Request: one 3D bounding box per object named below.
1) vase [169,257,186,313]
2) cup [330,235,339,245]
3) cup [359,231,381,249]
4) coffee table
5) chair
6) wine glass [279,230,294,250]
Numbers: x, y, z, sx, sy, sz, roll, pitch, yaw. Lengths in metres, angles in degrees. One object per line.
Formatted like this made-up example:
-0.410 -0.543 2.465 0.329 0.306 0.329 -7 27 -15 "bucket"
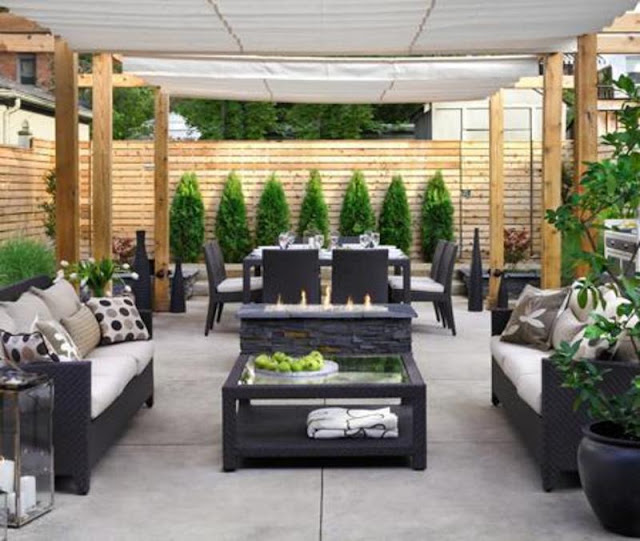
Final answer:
-1.733 0.219 8.943 0.185 0.628 0.187 -4 1 -42 "vase"
0.165 -0.329 8.032 0.077 0.101 0.082 1 12 0 "cup"
0.528 -0.327 7.744 0.169 0.158 0.184 -1 9 0 "cup"
0.026 0.831 4.390 1.155 0.483 0.910 0 7 0 "coffee table"
0.127 0.201 7.623 2.628 0.968 1.413 -1 7 -4 "chair"
-0.345 -0.296 7.333 0.134 0.212 0.189 1 16 -9 "wine glass"
